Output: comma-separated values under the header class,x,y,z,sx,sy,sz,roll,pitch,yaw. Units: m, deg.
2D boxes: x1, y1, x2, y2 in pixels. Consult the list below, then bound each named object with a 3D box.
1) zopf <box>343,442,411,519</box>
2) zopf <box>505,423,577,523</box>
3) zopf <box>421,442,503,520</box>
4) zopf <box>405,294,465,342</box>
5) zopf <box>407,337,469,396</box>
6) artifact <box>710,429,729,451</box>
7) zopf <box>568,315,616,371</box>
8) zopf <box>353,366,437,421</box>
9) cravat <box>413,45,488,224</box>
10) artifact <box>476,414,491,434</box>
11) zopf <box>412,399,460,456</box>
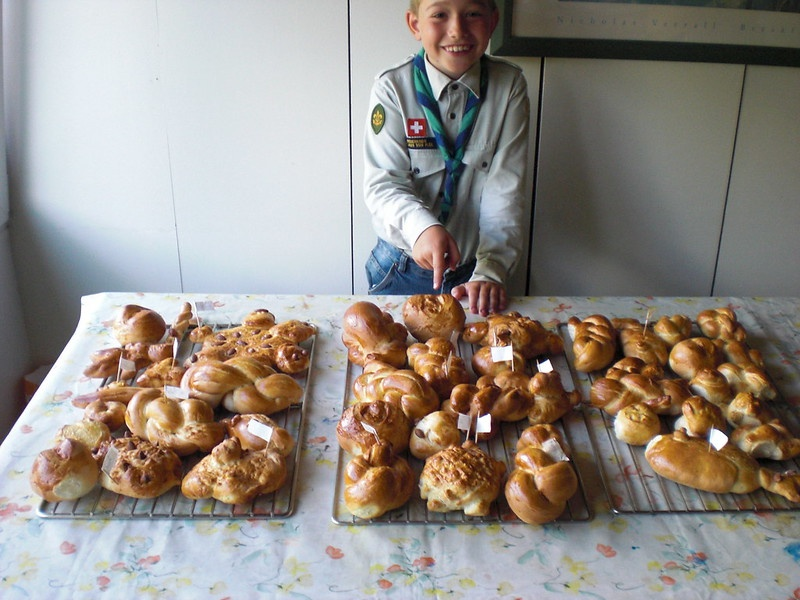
class,x,y,z,sx,sy,sz,roll,pitch,yaw
zopf,-0.055,0.425,1.292,0.125,0.067,0.169,-4,42,1
zopf,0.346,0.414,1.370,0.151,0.100,0.298,-3,27,16
zopf,0.152,0.426,1.364,0.230,0.089,0.253,0,19,9
zopf,0.106,0.050,1.854,0.217,0.126,0.256,1,30,1
zopf,0.110,0.177,1.603,0.142,0.061,0.155,1,35,-4
artifact,0.785,0.343,1.367,0.015,0.052,0.050,-1,-2,-42
zopf,0.607,0.183,1.753,0.131,0.089,0.258,-2,31,17
zopf,-0.019,0.256,1.543,0.127,0.080,0.186,29,-22,-26
cravat,0.199,-0.675,2.301,0.308,0.638,0.272,2,28,1
artifact,0.217,0.320,1.435,0.041,0.045,0.042,0,-15,2
zopf,0.089,0.318,1.440,0.088,0.041,0.125,-19,30,22
